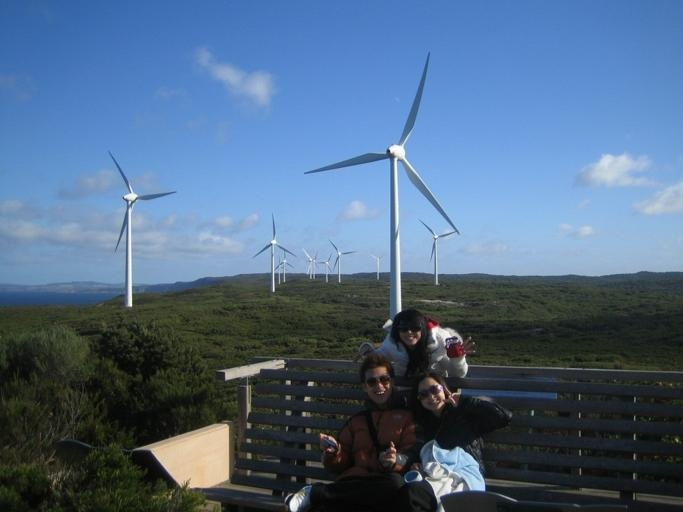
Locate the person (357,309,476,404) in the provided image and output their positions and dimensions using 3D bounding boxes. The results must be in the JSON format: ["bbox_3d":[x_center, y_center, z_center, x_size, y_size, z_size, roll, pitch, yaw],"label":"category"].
[{"bbox_3d":[0.976,1.155,7.041,1.398,0.717,1.142,10,-21,3],"label":"person"}]

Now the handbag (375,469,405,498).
[{"bbox_3d":[0.519,2.340,5.626,0.260,0.206,0.096,-2,-4,4],"label":"handbag"}]

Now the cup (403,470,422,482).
[{"bbox_3d":[0.733,2.272,5.663,0.140,0.100,0.101,-17,17,-37],"label":"cup"}]

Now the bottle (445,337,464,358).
[{"bbox_3d":[1.360,1.089,6.579,0.206,0.243,0.199,-3,-5,25],"label":"bottle"}]
